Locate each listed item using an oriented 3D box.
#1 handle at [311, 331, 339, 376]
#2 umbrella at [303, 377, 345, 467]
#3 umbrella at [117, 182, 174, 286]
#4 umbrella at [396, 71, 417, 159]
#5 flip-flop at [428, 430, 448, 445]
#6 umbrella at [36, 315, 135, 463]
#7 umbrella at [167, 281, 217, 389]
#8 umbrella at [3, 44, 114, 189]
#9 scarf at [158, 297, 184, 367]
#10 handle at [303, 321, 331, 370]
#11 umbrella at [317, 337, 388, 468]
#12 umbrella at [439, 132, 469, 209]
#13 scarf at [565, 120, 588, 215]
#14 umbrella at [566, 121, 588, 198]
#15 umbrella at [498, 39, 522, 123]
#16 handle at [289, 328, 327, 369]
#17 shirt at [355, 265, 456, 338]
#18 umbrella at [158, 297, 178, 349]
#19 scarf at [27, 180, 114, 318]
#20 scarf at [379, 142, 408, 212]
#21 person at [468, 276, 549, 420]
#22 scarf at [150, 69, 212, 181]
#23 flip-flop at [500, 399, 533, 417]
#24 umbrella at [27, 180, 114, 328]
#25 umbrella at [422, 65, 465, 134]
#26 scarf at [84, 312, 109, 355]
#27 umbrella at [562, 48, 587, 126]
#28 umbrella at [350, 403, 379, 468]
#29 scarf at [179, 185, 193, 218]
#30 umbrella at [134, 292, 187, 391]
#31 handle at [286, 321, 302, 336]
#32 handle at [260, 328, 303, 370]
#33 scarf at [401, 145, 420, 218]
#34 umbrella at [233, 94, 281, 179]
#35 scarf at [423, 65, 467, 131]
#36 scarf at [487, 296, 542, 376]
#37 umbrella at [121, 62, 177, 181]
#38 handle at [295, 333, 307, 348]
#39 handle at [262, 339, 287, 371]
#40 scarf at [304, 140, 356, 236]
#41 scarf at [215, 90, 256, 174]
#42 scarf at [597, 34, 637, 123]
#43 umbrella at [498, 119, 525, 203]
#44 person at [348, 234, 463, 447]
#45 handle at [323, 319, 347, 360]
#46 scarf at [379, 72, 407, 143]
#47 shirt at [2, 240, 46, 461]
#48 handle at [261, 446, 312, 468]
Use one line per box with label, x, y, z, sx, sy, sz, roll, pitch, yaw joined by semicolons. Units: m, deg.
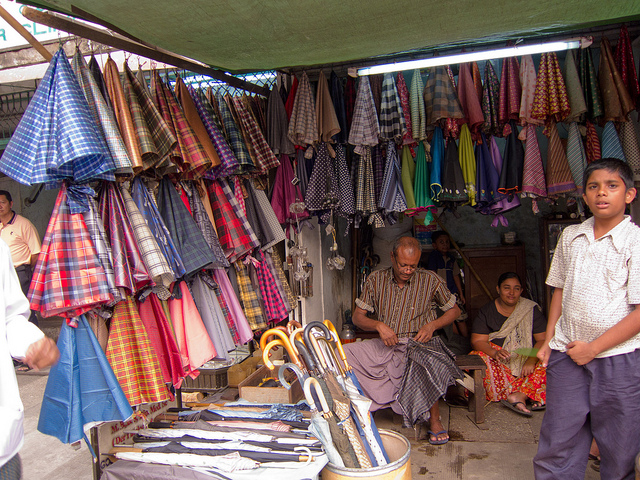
handle;0.034;0.665;3.119;0.135;0.256;0.030;-24;-7;23
umbrella;0.025;1.017;2.965;0.164;0.572;0.113;-15;-1;30
umbrella;-1.025;-0.107;3.012;0.174;0.886;0.148;-20;51;-31
umbrella;0.738;-1.144;4.679;0.201;0.754;0.117;-8;45;11
flip-flop;0.976;1.608;4.351;0.146;0.071;0.179;3;10;8
umbrella;-1.314;0.675;2.911;0.331;0.907;0.380;10;15;29
umbrella;-0.823;0.568;3.299;0.316;0.795;0.194;-20;43;-31
umbrella;-1.388;-0.641;2.804;0.486;0.714;0.277;4;10;11
scarf;-0.917;0.568;3.264;0.053;0.380;0.038;-19;-3;-5
handle;-0.009;0.631;3.046;0.167;0.366;0.045;7;-44;-12
umbrella;0.211;1.029;3.337;0.168;0.999;0.159;-22;2;20
umbrella;1.200;-0.636;4.643;0.253;0.598;0.147;4;10;11
scarf;2.141;-0.679;4.431;0.163;0.888;0.129;1;34;28
umbrella;2.141;-0.675;4.367;0.172;0.579;0.240;5;10;16
umbrella;1.608;-1.312;4.477;0.194;0.571;0.185;0;-12;13
handle;-0.054;0.619;3.082;0.150;0.263;0.039;-30;-8;13
shirt;0.744;0.530;4.669;0.869;0.633;0.395;-3;11;15
umbrella;-0.942;0.481;3.277;0.052;0.382;0.052;-20;-11;25
scarf;-1.399;0.122;3.009;0.362;0.812;0.385;-7;-25;-18
scarf;0.675;-0.563;4.729;0.281;0.605;0.159;-5;12;-32
person;1.814;0.923;4.934;0.809;1.191;1.067;0;1;2
scarf;-1.003;-0.715;3.400;0.344;0.785;0.225;-14;-15;-15
flip-flop;1.765;1.499;4.749;0.079;0.058;0.208;12;7;-43
umbrella;-1.345;0.106;2.997;0.391;0.776;0.372;-6;-16;-23
umbrella;1.044;-1.201;4.529;0.200;0.566;0.374;-6;13;-38
scarf;-1.243;0.490;2.988;0.129;0.033;0.301;6;-30;-18
umbrella;2.079;-1.248;4.306;0.176;0.568;0.284;1;10;-5
umbrella;0.262;1.090;3.096;0.065;0.443;0.055;-33;20;-36
scarf;-0.899;-0.276;3.524;0.040;0.271;0.038;-17;-10;-14
umbrella;-0.951;0.644;3.196;0.160;0.642;0.106;-18;31;-16
handle;-0.154;0.542;3.249;0.031;0.098;0.101;-15;26;35
handle;-0.202;0.610;3.068;0.166;0.274;0.045;-27;-11;16
scarf;0.824;-0.548;4.798;0.157;0.781;0.174;-12;-37;7
umbrella;-0.604;-0.896;4.327;0.374;0.888;0.181;-19;-29;6
scarf;1.071;-1.198;4.516;0.315;0.557;0.268;-11;-37;5
scarf;1.845;0.908;4.947;0.454;0.639;0.205;-5;-21;36
umbrella;-1.093;-0.800;3.241;0.314;0.708;0.152;-15;-14;-26
handle;-0.106;0.589;3.103;0.022;0.069;0.054;-29;-15;5
handle;-0.278;0.658;3.009;0.149;0.174;0.040;4;-16;-14
scarf;0.095;-0.549;4.874;0.430;1.049;0.211;3;-26;-6
scarf;-0.626;-0.792;3.867;0.178;0.150;0.615;-20;-32;-10
scarf;2.380;-1.287;4.199;0.309;0.672;0.242;7;11;26
umbrella;1.651;-0.675;4.548;0.239;0.913;0.293;-8;-31;32
person;0.671;0.790;4.424;1.048;1.601;0.920;-2;7;1
handle;0.078;0.624;3.258;0.050;0.285;0.118;-20;4;22
scarf;0.644;-1.152;4.604;0.224;0.596;0.189;3;10;5
shirt;-1.351;0.486;2.427;0.168;0.935;0.580;-4;11;-28
handle;-0.178;1.184;2.906;0.274;0.080;0.165;2;10;1
